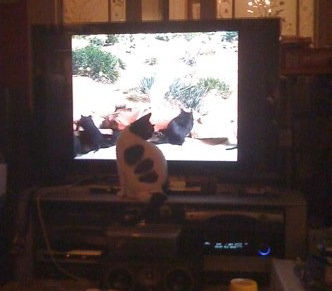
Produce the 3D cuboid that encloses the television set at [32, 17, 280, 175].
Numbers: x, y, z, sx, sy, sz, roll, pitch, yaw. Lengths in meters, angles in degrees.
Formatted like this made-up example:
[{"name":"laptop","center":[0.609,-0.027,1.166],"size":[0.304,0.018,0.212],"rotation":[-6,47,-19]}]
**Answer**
[{"name":"television set","center":[-0.082,-0.263,2.084],"size":[1.383,0.889,0.074],"rotation":[1,7,5]}]
